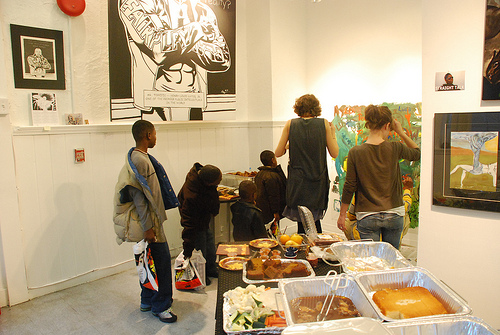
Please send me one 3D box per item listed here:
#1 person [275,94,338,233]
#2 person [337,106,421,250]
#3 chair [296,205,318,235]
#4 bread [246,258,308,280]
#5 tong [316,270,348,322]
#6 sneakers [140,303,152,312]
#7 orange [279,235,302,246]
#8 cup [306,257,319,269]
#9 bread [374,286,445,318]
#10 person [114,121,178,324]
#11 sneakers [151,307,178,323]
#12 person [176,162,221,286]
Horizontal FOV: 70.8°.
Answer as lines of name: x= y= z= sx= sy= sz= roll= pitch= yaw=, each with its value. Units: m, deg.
person: x=0.695 y=0.010 z=4.200 sx=0.742 sy=1.746 sz=0.483 roll=-4 pitch=9 yaw=4
person: x=1.236 y=0.111 z=3.482 sx=0.730 sy=1.434 sz=0.306 roll=-2 pitch=10 yaw=17
chair: x=0.556 y=0.512 z=3.344 sx=0.110 sy=0.352 sz=0.102 roll=-9 pitch=26 yaw=18
bread: x=0.191 y=0.797 z=2.729 sx=0.293 sy=0.043 sz=0.210 roll=0 pitch=6 yaw=-9
tong: x=0.582 y=0.881 z=2.467 sx=0.153 sy=0.048 sz=0.400 roll=0 pitch=46 yaw=42
sneakers: x=-1.175 y=1.580 z=3.963 sx=0.133 sy=0.065 sz=0.060 roll=6 pitch=2 yaw=-39
orange: x=0.369 y=0.661 z=3.175 sx=0.117 sy=0.051 sz=0.120 roll=2 pitch=0 yaw=29
cup: x=0.514 y=0.773 z=2.857 sx=0.085 sy=0.084 sz=0.082 roll=-1 pitch=5 yaw=0
bread: x=1.074 y=0.917 z=2.376 sx=0.449 sy=0.100 sz=0.228 roll=-5 pitch=9 yaw=-2
person: x=-1.093 y=0.593 z=3.775 sx=0.514 sy=2.179 sz=0.559 roll=-1 pitch=10 yaw=24
sneakers: x=-0.923 y=1.601 z=3.819 sx=0.268 sy=0.119 sz=0.125 roll=6 pitch=3 yaw=18
person: x=-0.614 y=0.721 z=4.173 sx=0.529 sy=1.576 sz=0.843 roll=-3 pitch=32 yaw=0
